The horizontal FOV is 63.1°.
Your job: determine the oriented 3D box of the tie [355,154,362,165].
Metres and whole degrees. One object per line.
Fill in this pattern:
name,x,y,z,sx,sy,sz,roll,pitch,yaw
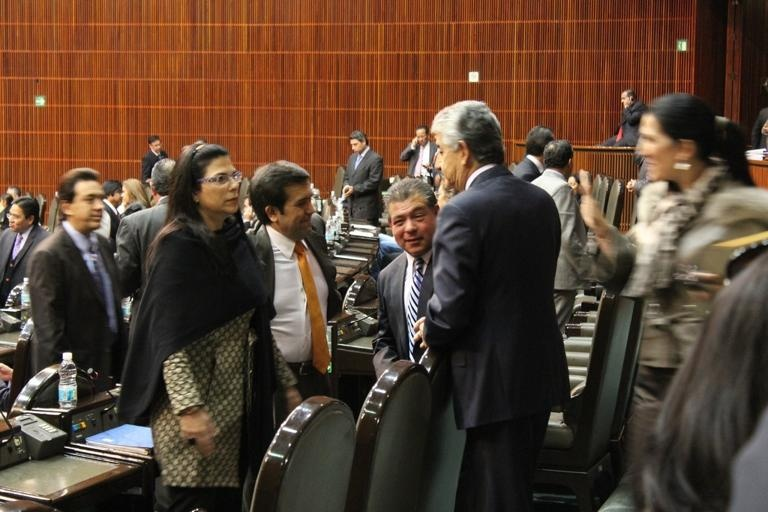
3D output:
tie,-0.471,-1.783,11.590,0.027,0.217,0.029,20,-13,19
